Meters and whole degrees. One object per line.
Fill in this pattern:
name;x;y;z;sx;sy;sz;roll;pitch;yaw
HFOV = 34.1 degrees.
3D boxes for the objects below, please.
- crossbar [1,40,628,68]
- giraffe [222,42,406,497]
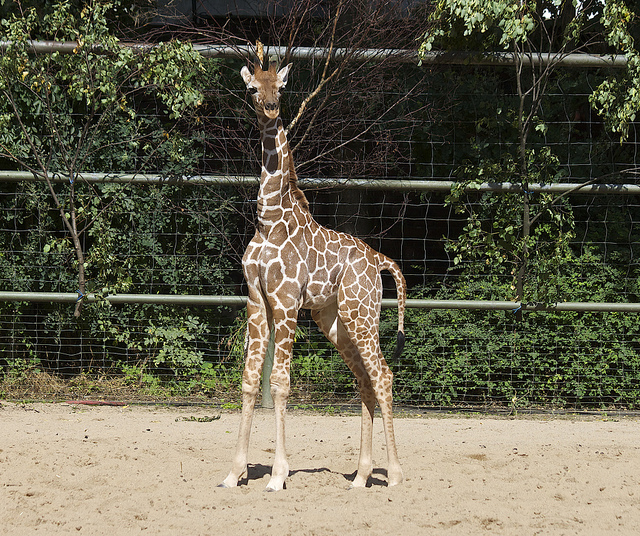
crossbar;0.181;-1.864;9.034;4.922;0.151;0.443;1;11;-2
giraffe;-0.009;-0.059;7.876;1.313;3.184;2.127;1;10;2
